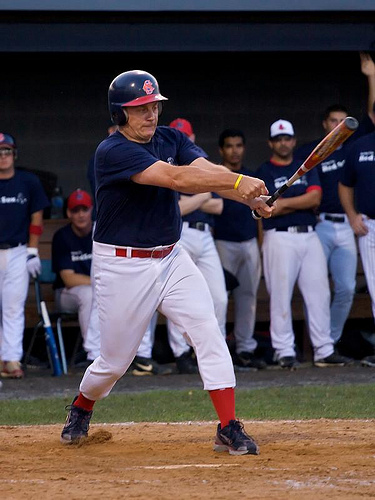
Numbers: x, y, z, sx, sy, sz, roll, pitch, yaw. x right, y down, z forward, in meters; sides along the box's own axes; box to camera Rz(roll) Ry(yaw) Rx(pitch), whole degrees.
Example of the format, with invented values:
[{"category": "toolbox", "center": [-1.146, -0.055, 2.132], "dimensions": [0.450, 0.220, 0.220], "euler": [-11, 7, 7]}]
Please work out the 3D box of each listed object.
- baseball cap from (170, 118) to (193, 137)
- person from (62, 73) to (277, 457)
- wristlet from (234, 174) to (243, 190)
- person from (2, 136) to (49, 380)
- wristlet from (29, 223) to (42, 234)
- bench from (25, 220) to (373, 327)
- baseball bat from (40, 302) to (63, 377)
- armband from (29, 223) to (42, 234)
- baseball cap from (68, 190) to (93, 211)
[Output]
[{"category": "baseball cap", "center": [-0.039, -0.923, 6.143], "dimensions": [0.199, 0.152, 0.274], "euler": [-3, 18, 2]}, {"category": "person", "center": [-0.128, 0.047, 3.577], "dimensions": [0.935, 1.638, 0.663], "euler": [-2, -2, 1]}, {"category": "wristlet", "center": [0.204, -0.268, 3.267], "dimensions": [0.015, 0.048, 0.052], "euler": [28, 6, 13]}, {"category": "person", "center": [-1.239, 0.054, 6.216], "dimensions": [0.259, 1.791, 0.402], "euler": [-3, -2, 20]}, {"category": "wristlet", "center": [-1.136, -0.158, 6.262], "dimensions": [0.078, 0.052, 0.073], "euler": [3, 2, -9]}, {"category": "bench", "center": [0.217, 0.139, 6.845], "dimensions": [3.063, 0.928, 1.527], "euler": [-1, -2, -10]}, {"category": "baseball bat", "center": [-1.016, 0.680, 6.250], "dimensions": [0.085, 0.650, 0.070], "euler": [-18, 29, -18]}, {"category": "armband", "center": [-1.145, -0.159, 6.247], "dimensions": [0.078, 0.052, 0.073], "euler": [3, 2, -9]}, {"category": "baseball cap", "center": [-0.822, -0.392, 6.450], "dimensions": [0.173, 0.169, 0.274], "euler": [-2, -2, 5]}]
